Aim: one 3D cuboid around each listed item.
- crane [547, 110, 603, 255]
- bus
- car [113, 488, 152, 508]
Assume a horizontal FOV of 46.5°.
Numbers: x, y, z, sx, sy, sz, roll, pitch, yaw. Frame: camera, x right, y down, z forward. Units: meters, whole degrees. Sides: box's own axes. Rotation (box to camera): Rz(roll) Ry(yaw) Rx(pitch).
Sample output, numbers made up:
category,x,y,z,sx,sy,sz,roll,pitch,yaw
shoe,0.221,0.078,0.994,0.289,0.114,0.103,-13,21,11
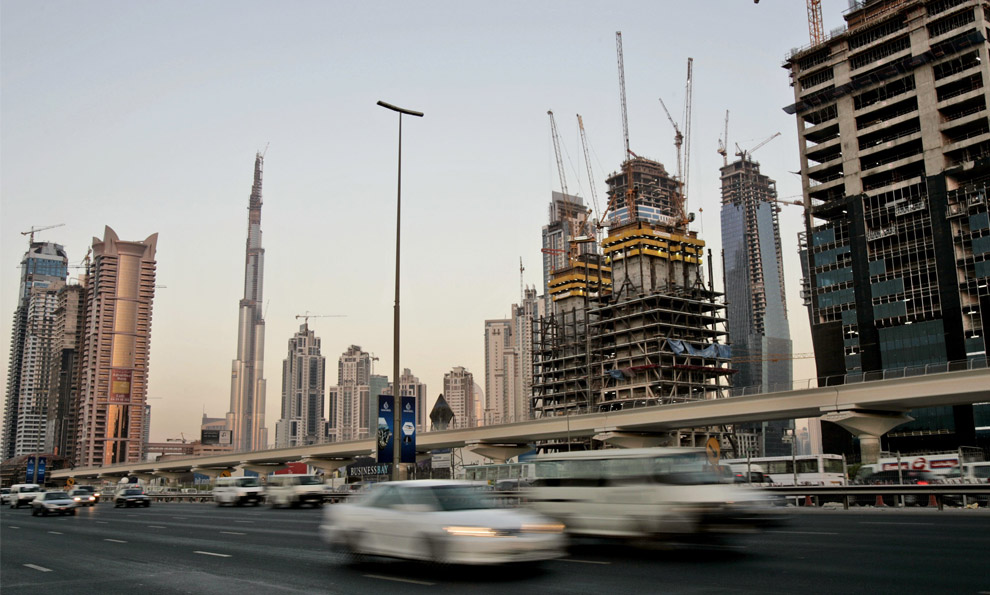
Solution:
category,x,y,z,sx,sy,sz,roll,pitch,yaw
crane,27.466,-40.487,475.051,16.917,52.852,21.180,1,0,-8
bus,38.319,23.337,153.374,5.873,4.189,17.388,4,-11,-36
car,-45.621,24.968,144.115,3.119,2.592,4.665,8,-16,-35
